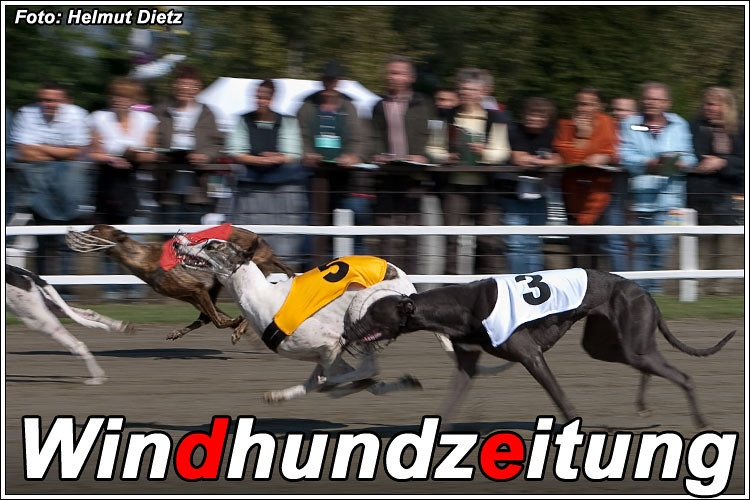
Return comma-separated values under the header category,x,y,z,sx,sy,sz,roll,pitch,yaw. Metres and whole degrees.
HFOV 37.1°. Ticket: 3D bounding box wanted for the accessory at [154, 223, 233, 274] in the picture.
category,x,y,z,sx,sy,sz,roll,pitch,yaw
accessory,-1.451,0.000,8.939,0.370,0.548,0.124,29,37,-18
